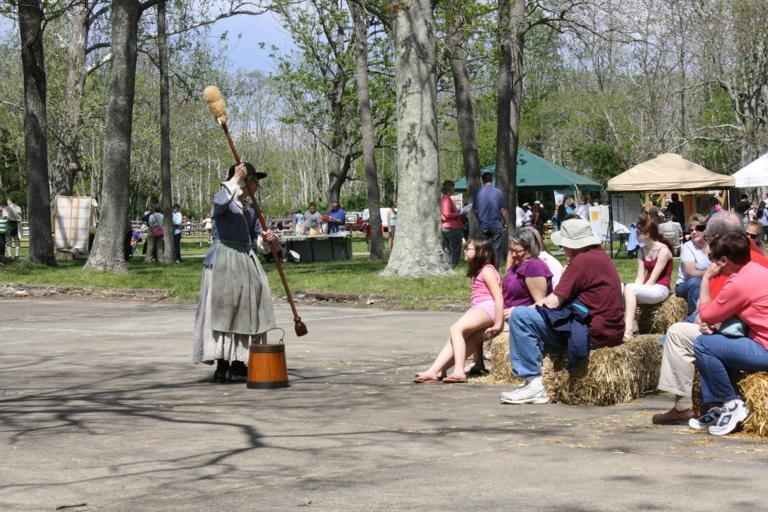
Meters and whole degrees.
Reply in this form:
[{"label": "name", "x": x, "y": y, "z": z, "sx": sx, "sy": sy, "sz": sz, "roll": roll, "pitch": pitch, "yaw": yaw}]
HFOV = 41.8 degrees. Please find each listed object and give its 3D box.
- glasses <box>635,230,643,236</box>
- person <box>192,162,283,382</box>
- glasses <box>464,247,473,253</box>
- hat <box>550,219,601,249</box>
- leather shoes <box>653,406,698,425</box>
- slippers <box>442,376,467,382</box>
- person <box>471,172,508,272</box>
[{"label": "glasses", "x": 3.898, "y": -0.336, "z": 15.441, "sx": 0.069, "sy": 0.091, "sz": 0.074, "roll": 3, "pitch": 15, "yaw": 19}, {"label": "person", "x": -1.959, "y": 0.112, "z": 13.079, "sx": 1.026, "sy": 2.579, "sz": 0.483, "roll": 0, "pitch": -1, "yaw": -12}, {"label": "glasses", "x": 1.148, "y": -0.075, "z": 13.731, "sx": 0.092, "sy": 0.104, "sz": 0.224, "roll": 0, "pitch": -1, "yaw": -15}, {"label": "hat", "x": 2.333, "y": -0.260, "z": 12.336, "sx": 0.436, "sy": 0.155, "sz": 0.406, "roll": 3, "pitch": 15, "yaw": 25}, {"label": "leather shoes", "x": 3.190, "y": 1.779, "z": 11.121, "sx": 0.486, "sy": 0.202, "sz": 0.178, "roll": 1, "pitch": 2, "yaw": 7}, {"label": "slippers", "x": 0.923, "y": 1.620, "z": 13.111, "sx": 0.271, "sy": 0.105, "sz": 0.101, "roll": 2, "pitch": -4, "yaw": 3}, {"label": "person", "x": 2.595, "y": -1.092, "z": 24.800, "sx": 0.704, "sy": 1.993, "sz": 1.035, "roll": -1, "pitch": -1, "yaw": 14}]
